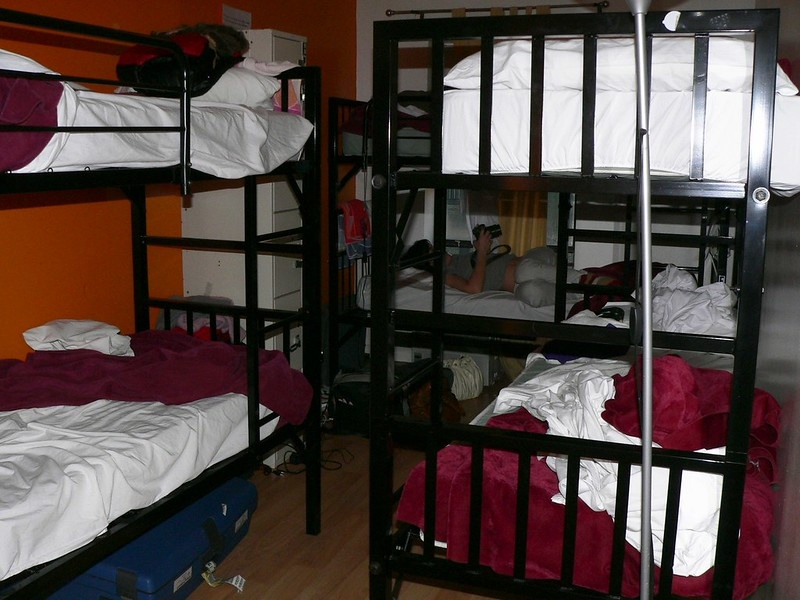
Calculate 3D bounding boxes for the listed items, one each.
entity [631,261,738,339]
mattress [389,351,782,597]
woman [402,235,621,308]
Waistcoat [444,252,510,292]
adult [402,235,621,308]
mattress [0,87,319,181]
[{"bbox_3d":[1.548,0.062,3.663,0.639,0.507,0.196,-1,-25,39],"label":"entity"},{"bbox_3d":[0.641,0.699,2.441,0.986,0.280,1.066,8,43,25],"label":"mattress"},{"bbox_3d":[0.826,-0.215,5.324,1.043,0.401,0.663,8,20,16],"label":"woman"},{"bbox_3d":[0.618,-0.253,5.610,0.448,0.187,0.287,5,51,22],"label":"Waistcoat"},{"bbox_3d":[0.802,-0.207,5.287,1.043,0.401,0.663,8,20,16],"label":"adult"},{"bbox_3d":[-0.900,-0.608,2.584,0.492,0.189,0.664,6,12,28],"label":"mattress"}]
